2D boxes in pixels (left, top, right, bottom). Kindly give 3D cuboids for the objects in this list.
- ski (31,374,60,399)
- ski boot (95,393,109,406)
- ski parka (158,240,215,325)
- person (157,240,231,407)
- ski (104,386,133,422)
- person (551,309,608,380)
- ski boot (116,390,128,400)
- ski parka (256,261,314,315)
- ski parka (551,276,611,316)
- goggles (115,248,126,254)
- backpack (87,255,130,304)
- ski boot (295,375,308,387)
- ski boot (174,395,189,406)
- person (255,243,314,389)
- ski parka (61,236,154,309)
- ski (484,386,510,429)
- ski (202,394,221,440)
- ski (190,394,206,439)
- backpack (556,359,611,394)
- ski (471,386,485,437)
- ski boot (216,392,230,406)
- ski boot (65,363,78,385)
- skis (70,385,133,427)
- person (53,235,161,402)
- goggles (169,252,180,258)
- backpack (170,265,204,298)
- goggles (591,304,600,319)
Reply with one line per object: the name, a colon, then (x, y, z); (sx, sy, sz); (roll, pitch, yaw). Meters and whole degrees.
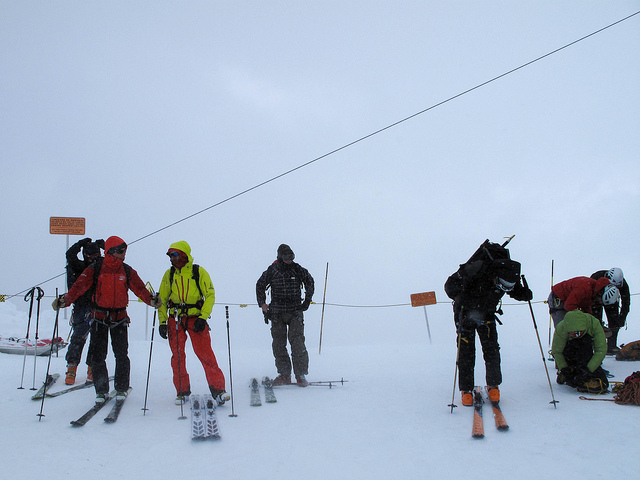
ski: (-3.687, 1.959, 7.820); (0.171, 0.107, 0.586); (23, 12, -12)
ski boot: (-2.745, 2.012, 7.351); (0.068, 0.106, 0.226); (-8, -8, 0)
ski parka: (-1.781, 0.566, 7.771); (0.721, 1.083, 0.462); (0, 3, -17)
person: (-1.687, 1.082, 7.756); (0.959, 2.107, 0.741); (1, 3, -2)
ski: (-2.515, 2.054, 7.253); (0.147, 0.160, 1.326); (6, 5, -9)
person: (3.574, 1.411, 8.070); (0.659, 1.055, 0.670); (-6, 12, 12)
ski boot: (-2.525, 1.986, 7.417); (0.059, 0.087, 0.189); (1, -13, -5)
ski parka: (-0.523, 0.742, 8.798); (0.997, 1.064, 0.457); (0, -12, -8)
ski parka: (3.746, 0.701, 8.452); (0.570, 0.320, 0.701); (-16, 29, -41)
goggles: (-2.537, 0.140, 7.465); (0.051, 0.071, 0.139); (4, 4, 41)
backpack: (-2.700, 0.512, 7.455); (0.478, 0.750, 0.407); (7, -37, -22)
ski boot: (-0.266, 2.073, 8.609); (0.166, 0.155, 0.169); (1, 3, -11)
ski boot: (-1.793, 2.061, 7.515); (0.085, 0.108, 0.259); (0, -16, 2)
person: (-0.534, 1.145, 8.811); (0.839, 2.081, 0.729); (1, 3, -2)
ski parka: (-2.707, 0.402, 7.589); (1.213, 1.032, 0.478); (2, 14, -32)
ski: (2.177, 2.086, 7.190); (0.174, 0.070, 1.300); (-5, 6, 8)
ski: (-1.317, 2.160, 7.106); (0.129, 0.106, 0.994); (1, 4, -12)
ski: (-1.460, 2.119, 7.000); (0.121, 0.090, 0.971); (2, 5, -12)
backpack: (3.585, 1.814, 7.868); (0.499, 0.262, 0.432); (4, -2, -19)
ski: (1.921, 2.084, 7.161); (0.118, 0.088, 1.162); (-4, 8, 7)
ski boot: (-1.265, 2.075, 7.606); (0.075, 0.108, 0.222); (-2, -25, -18)
ski boot: (-3.513, 1.879, 8.162); (0.103, 0.238, 0.319); (3, 13, -29)
skis: (-2.694, 2.069, 7.214); (0.263, 0.045, 0.882); (0, 4, 0)
person: (-2.676, 1.013, 7.464); (1.186, 2.104, 0.502); (0, 3, -19)
goggles: (-1.964, 0.194, 7.778); (0.090, 0.067, 0.188); (-1, 4, -42)
backpack: (-1.731, 0.535, 7.825); (0.357, 0.584, 0.370); (-3, 1, 4)
goggles: (4.287, 1.107, 9.053); (0.090, 0.279, 0.200); (-6, -10, 16)
